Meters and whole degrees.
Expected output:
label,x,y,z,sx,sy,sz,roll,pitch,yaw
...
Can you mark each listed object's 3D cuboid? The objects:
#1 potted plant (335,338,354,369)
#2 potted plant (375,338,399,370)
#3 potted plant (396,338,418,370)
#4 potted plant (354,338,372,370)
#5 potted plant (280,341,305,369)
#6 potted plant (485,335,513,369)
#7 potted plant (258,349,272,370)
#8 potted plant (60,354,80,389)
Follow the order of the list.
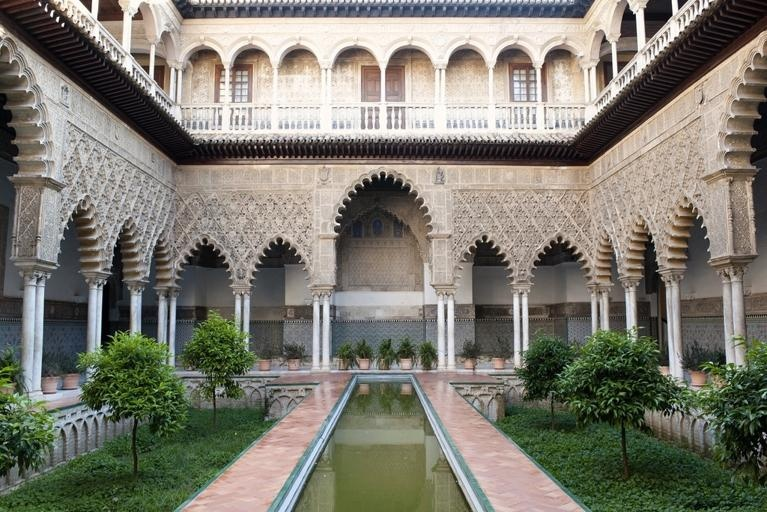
label,x,y,z,sx,sy,sz,roll,pitch,yaw
potted plant,-0.893,2.427,16.825,0.437,0.657,0.425,5,-12,-26
potted plant,0.101,2.386,16.829,0.617,0.843,0.589,-1,-3,7
potted plant,0.556,2.351,16.634,0.494,0.745,0.369,1,-11,-8
potted plant,-0.491,2.375,16.679,0.393,0.717,0.459,2,-11,-11
potted plant,-2.362,2.455,17.178,0.647,0.719,0.662,0,-6,11
potted plant,3.051,2.464,17.947,0.624,0.909,0.662,-1,-6,45
potted plant,-2.935,2.566,16.992,0.419,0.577,0.423,2,-17,-9
potted plant,-6.256,2.313,13.650,0.349,0.644,0.692,5,-12,-25
